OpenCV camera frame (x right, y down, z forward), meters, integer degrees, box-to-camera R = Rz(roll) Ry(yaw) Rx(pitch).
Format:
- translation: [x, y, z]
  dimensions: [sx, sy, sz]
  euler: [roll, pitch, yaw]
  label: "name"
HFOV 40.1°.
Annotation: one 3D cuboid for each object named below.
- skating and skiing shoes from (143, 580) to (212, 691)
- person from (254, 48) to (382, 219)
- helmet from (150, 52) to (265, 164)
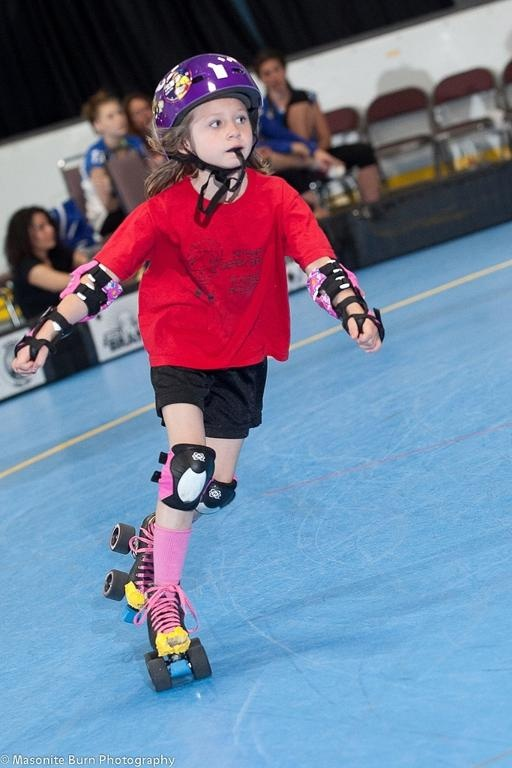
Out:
- translation: [-0.207, 0.587, 1.697]
  dimensions: [0.151, 0.182, 0.280]
  euler: [-14, 16, -13]
  label: "skating and skiing shoes"
- translation: [0.528, -2.467, 6.913]
  dimensions: [1.146, 1.627, 0.580]
  euler: [-7, 27, 3]
  label: "person"
- translation: [-0.124, -0.696, 1.777]
  dimensions: [0.216, 0.207, 0.270]
  euler: [1, -4, -21]
  label: "helmet"
